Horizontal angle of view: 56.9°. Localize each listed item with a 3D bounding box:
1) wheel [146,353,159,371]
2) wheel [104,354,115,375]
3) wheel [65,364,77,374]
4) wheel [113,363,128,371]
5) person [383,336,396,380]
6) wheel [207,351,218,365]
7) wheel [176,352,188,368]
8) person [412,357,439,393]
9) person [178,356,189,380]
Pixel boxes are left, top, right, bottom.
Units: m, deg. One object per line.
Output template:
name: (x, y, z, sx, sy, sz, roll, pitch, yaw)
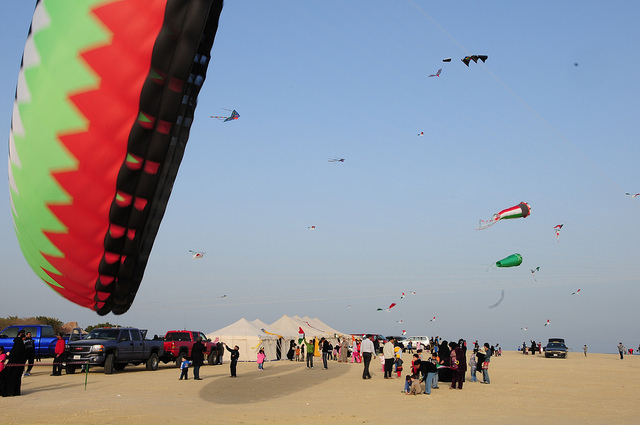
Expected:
wheel: (-8.444, 7.440, 29.611, 0.393, 0.869, 1.036, -2, -19, 7)
wheel: (-9.485, 6.803, 26.611, 0.385, 0.861, 0.455, 8, -20, -21)
wheel: (-11.203, 6.992, 26.534, 0.386, 0.415, 1.024, 7, -21, -20)
wheel: (-9.891, 7.595, 29.228, 0.554, 0.352, 1.230, 7, -20, -18)
person: (3.119, 6.337, 26.012, 0.529, 1.783, 0.679, 16, -21, -35)
wheel: (-6.398, 8.610, 35.251, 0.258, 0.786, 1.105, -4, -19, 11)
wheel: (-7.269, 7.684, 31.025, 0.550, 0.856, 2.127, 5, -20, -13)
person: (3.776, 5.755, 21.218, 1.066, 1.351, 0.512, -7, 13, -22)
person: (-5.627, 6.443, 24.483, 0.337, 0.817, 1.862, 4, -20, -12)
